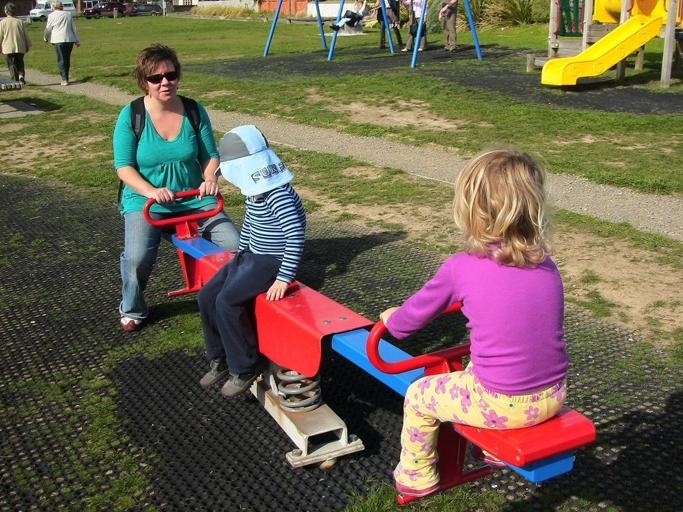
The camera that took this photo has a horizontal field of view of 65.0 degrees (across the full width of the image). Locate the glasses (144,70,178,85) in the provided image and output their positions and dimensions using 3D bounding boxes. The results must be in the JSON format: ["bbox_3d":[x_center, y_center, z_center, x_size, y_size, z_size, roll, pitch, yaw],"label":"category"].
[{"bbox_3d":[-1.215,-1.199,3.636,0.223,0.092,0.108,-6,16,-14],"label":"glasses"}]

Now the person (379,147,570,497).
[{"bbox_3d":[0.469,0.281,1.914,0.649,1.287,0.341,2,20,17],"label":"person"}]

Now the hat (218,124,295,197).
[{"bbox_3d":[-0.450,-0.560,2.901,0.398,0.228,0.474,-27,55,-22],"label":"hat"}]

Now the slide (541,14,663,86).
[{"bbox_3d":[5.467,-4.287,11.188,2.628,1.428,0.673,-8,19,-22],"label":"slide"}]

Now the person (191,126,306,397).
[{"bbox_3d":[-0.480,0.003,2.831,0.577,1.347,0.714,-1,18,7],"label":"person"}]

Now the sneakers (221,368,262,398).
[{"bbox_3d":[-0.518,0.651,2.772,0.235,0.090,0.100,-31,36,-3],"label":"sneakers"}]

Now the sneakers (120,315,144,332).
[{"bbox_3d":[-1.391,0.448,3.567,0.093,0.077,0.149,1,15,-17],"label":"sneakers"}]
